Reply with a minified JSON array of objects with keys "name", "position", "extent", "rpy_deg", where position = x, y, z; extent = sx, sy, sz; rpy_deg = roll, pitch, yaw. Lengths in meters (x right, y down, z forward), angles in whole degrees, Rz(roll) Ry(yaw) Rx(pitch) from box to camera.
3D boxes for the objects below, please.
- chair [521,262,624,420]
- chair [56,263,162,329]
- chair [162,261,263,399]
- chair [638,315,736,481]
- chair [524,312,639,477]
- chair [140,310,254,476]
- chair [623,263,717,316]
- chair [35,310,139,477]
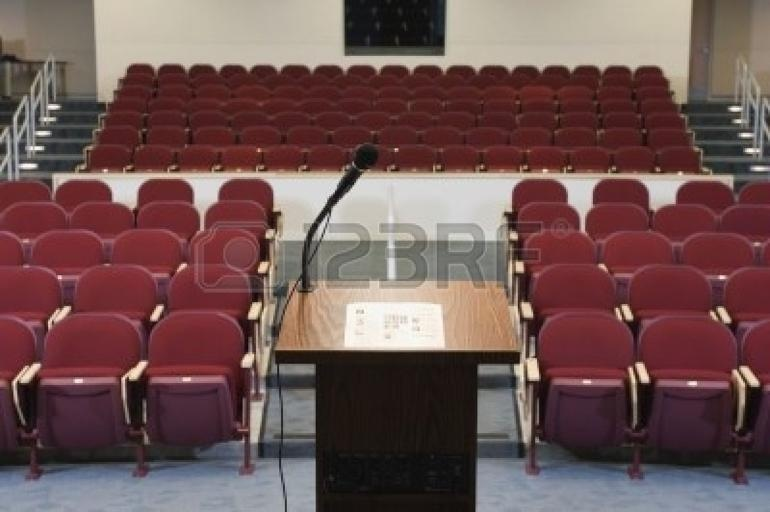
[{"name":"chair","position":[1.511,0.584,8.399],"extent":[0.851,1.321,0.951],"rpy_deg":[0,5,6]},{"name":"chair","position":[-2.397,0.516,8.169],"extent":[0.827,0.846,0.682],"rpy_deg":[2,5,-14]},{"name":"chair","position":[-1.560,0.620,8.543],"extent":[0.898,1.318,1.034],"rpy_deg":[0,-4,-2]},{"name":"chair","position":[2.474,1.045,7.611],"extent":[0.709,1.048,0.612],"rpy_deg":[1,5,18]},{"name":"chair","position":[1.454,1.123,8.015],"extent":[1.071,1.582,1.095],"rpy_deg":[0,-2,6]},{"name":"chair","position":[-1.556,1.149,7.752],"extent":[0.919,1.323,0.924],"rpy_deg":[-2,7,-15]},{"name":"chair","position":[2.538,0.414,8.240],"extent":[0.774,0.635,0.429],"rpy_deg":[0,9,5]},{"name":"chair","position":[-2.466,1.056,7.650],"extent":[0.743,1.115,0.700],"rpy_deg":[0,2,-8]}]
